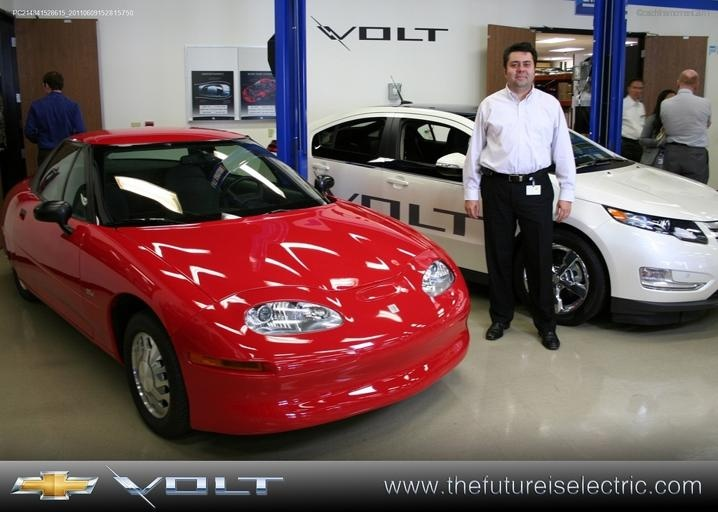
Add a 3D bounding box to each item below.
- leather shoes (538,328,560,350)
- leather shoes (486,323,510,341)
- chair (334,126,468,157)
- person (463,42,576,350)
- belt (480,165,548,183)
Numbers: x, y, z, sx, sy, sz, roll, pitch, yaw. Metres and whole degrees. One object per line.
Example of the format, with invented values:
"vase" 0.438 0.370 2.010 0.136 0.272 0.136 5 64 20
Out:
"leather shoes" 1.366 0.584 3.125 0.072 0.083 0.199 -3 17 -3
"leather shoes" 1.032 0.543 3.253 0.085 0.098 0.243 6 10 41
"chair" 0.280 -1.036 4.085 1.040 0.369 0.487 4 13 29
"person" 1.108 -0.405 3.087 0.731 2.012 0.538 6 20 26
"belt" 1.057 -0.552 3.001 0.435 0.096 0.125 4 20 19
